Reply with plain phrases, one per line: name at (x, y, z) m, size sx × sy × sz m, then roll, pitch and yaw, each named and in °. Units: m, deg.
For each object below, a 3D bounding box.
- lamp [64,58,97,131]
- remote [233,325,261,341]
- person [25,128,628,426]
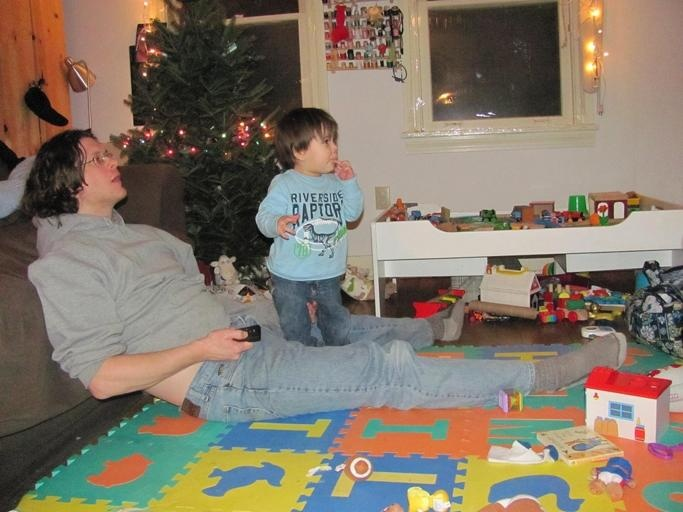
lamp at (-1.816, -1.150, 3.859) m, size 0.188 × 0.504 × 0.744 m, roll -8°, pitch 13°, yaw -23°
remote at (-0.312, 0.254, 1.850) m, size 0.073 × 0.019 × 0.040 m, roll -4°, pitch 36°, yaw -2°
person at (-0.144, 0.055, 2.243) m, size 1.924 × 0.969 × 0.917 m, roll 1°, pitch 8°, yaw -12°
